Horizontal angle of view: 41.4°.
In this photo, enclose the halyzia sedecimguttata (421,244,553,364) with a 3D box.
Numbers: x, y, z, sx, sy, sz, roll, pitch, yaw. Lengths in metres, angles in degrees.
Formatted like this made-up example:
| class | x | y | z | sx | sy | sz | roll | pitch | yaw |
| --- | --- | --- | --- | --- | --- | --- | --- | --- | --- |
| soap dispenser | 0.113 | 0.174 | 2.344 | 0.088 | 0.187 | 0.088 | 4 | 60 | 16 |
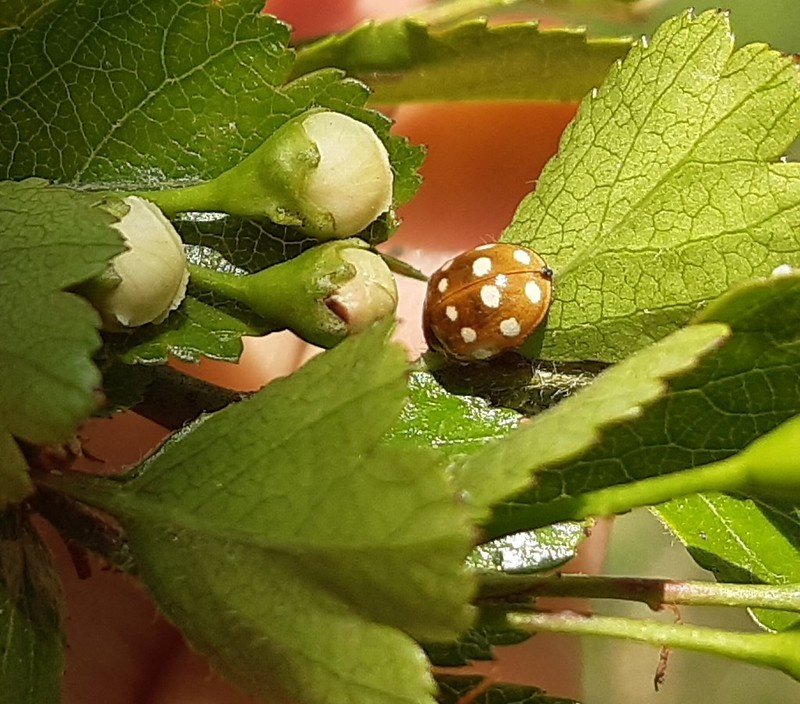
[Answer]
| class | x | y | z | sx | sy | sz | roll | pitch | yaw |
| --- | --- | --- | --- | --- | --- | --- | --- | --- | --- |
| halyzia sedecimguttata | 0.046 | -0.029 | 0.660 | 0.091 | 0.027 | 0.075 | 15 | 54 | 25 |
